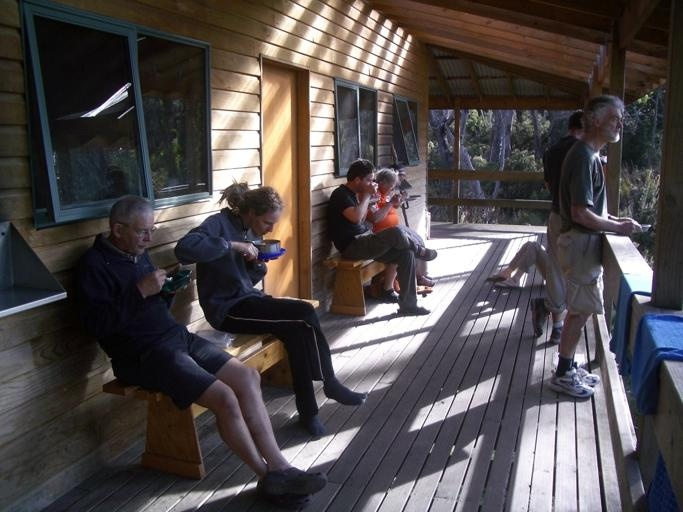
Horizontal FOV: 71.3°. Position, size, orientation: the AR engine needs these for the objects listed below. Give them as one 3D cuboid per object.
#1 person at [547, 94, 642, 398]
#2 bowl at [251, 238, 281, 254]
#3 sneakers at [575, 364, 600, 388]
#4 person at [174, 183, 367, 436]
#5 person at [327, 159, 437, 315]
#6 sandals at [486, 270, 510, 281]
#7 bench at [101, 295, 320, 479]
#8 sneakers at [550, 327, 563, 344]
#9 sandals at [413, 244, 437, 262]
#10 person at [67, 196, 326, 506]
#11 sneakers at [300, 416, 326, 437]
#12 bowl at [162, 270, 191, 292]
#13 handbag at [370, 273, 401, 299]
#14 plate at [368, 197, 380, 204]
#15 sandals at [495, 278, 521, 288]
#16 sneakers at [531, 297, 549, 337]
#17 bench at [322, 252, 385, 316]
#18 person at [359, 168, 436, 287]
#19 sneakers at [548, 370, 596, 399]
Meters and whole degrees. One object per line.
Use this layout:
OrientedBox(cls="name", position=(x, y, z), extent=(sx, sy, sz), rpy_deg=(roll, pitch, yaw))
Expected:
OrientedBox(cls="person", position=(1.889, -0.038, 3.564), extent=(0.512, 2.238, 0.545), rpy_deg=(4, 12, 25))
OrientedBox(cls="bowl", position=(-0.556, -0.064, 3.564), extent=(0.139, 0.059, 0.117), rpy_deg=(0, 15, -1))
OrientedBox(cls="sneakers", position=(1.981, 0.972, 3.836), extent=(0.077, 0.099, 0.209), rpy_deg=(-16, 30, -40))
OrientedBox(cls="person", position=(-0.479, 0.328, 3.517), extent=(1.201, 1.774, 0.990), rpy_deg=(2, 0, 9))
OrientedBox(cls="person", position=(0.530, -0.250, 5.720), extent=(1.198, 1.853, 0.834), rpy_deg=(-2, 2, 14))
OrientedBox(cls="sandals", position=(2.190, 0.293, 6.622), extent=(0.127, 0.110, 0.242), rpy_deg=(-11, 12, -43))
OrientedBox(cls="bench", position=(-0.836, 0.969, 3.591), extent=(0.498, 0.696, 1.939), rpy_deg=(-2, 5, 21))
OrientedBox(cls="sneakers", position=(2.086, 0.770, 4.620), extent=(0.066, 0.098, 0.213), rpy_deg=(1, 18, 24))
OrientedBox(cls="sandals", position=(1.013, -0.022, 5.713), extent=(0.342, 0.136, 0.152), rpy_deg=(1, 9, 9))
OrientedBox(cls="person", position=(-0.874, 0.493, 2.806), extent=(1.217, 1.659, 0.496), rpy_deg=(1, 11, 9))
OrientedBox(cls="sneakers", position=(-0.192, 1.173, 3.275), extent=(0.089, 0.089, 0.181), rpy_deg=(-12, 13, -40))
OrientedBox(cls="bowl", position=(-1.025, 0.140, 2.984), extent=(0.093, 0.071, 0.184), rpy_deg=(-3, 23, 13))
OrientedBox(cls="handbag", position=(0.532, 0.408, 6.038), extent=(0.177, 0.251, 0.513), rpy_deg=(-7, 7, -39))
OrientedBox(cls="plate", position=(0.428, -0.715, 6.187), extent=(0.088, 0.025, 0.087), rpy_deg=(7, -35, -46))
OrientedBox(cls="sandals", position=(2.247, 0.379, 6.422), extent=(0.314, 0.157, 0.139), rpy_deg=(1, 1, 10))
OrientedBox(cls="sneakers", position=(2.018, 0.585, 4.832), extent=(0.183, 0.463, 0.143), rpy_deg=(-3, 9, 2))
OrientedBox(cls="bench", position=(0.271, 0.335, 5.984), extent=(0.377, 0.612, 1.199), rpy_deg=(-4, 3, 21))
OrientedBox(cls="person", position=(0.786, -0.334, 6.034), extent=(0.577, 1.594, 0.816), rpy_deg=(-2, -11, -44))
OrientedBox(cls="sneakers", position=(1.775, 0.980, 3.748), extent=(0.359, 0.243, 0.153), rpy_deg=(7, 17, 19))
